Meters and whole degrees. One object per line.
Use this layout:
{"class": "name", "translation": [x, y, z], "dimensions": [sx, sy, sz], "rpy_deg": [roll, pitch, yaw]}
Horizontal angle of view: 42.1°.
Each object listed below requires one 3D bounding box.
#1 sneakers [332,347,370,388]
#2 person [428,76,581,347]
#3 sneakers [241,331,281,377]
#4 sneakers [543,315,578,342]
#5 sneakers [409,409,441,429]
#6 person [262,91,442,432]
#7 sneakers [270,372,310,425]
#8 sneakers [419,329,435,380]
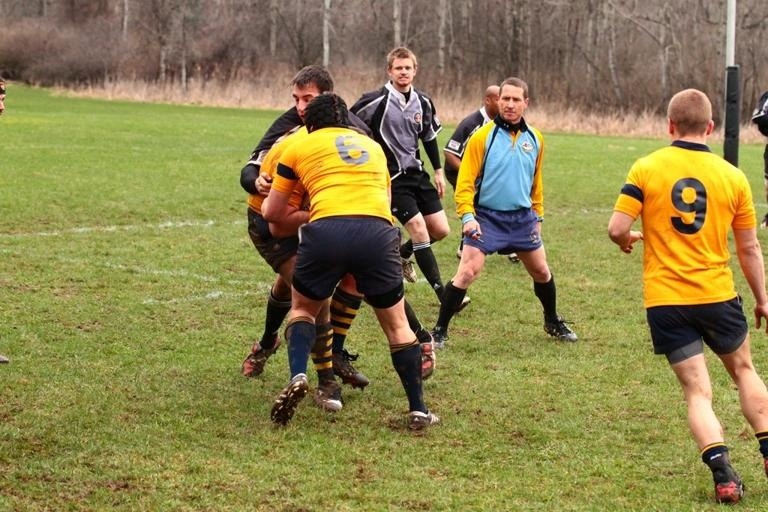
{"class": "sneakers", "translation": [-0.341, 1.134, 10.114], "dimensions": [0.455, 0.231, 0.155], "rpy_deg": [34, 27, 11]}
{"class": "person", "translation": [1.286, -0.463, 10.851], "dimensions": [1.391, 2.892, 0.542], "rpy_deg": [-1, 7, -24]}
{"class": "sneakers", "translation": [-1.260, 1.017, 10.215], "dimensions": [0.221, 0.577, 0.246], "rpy_deg": [38, -6, -4]}
{"class": "sneakers", "translation": [1.974, 0.805, 11.151], "dimensions": [0.350, 0.165, 0.229], "rpy_deg": [27, 49, 24]}
{"class": "sneakers", "translation": [0.386, 1.529, 9.486], "dimensions": [0.129, 0.122, 0.312], "rpy_deg": [1, 3, 38]}
{"class": "person", "translation": [-0.375, 0.040, 9.331], "dimensions": [1.500, 3.096, 0.657], "rpy_deg": [1, 6, -8]}
{"class": "sneakers", "translation": [-0.841, 1.328, 9.276], "dimensions": [0.233, 0.564, 0.262], "rpy_deg": [33, 20, -18]}
{"class": "sneakers", "translation": [0.456, 1.009, 10.247], "dimensions": [0.162, 0.463, 0.217], "rpy_deg": [-6, -3, 25]}
